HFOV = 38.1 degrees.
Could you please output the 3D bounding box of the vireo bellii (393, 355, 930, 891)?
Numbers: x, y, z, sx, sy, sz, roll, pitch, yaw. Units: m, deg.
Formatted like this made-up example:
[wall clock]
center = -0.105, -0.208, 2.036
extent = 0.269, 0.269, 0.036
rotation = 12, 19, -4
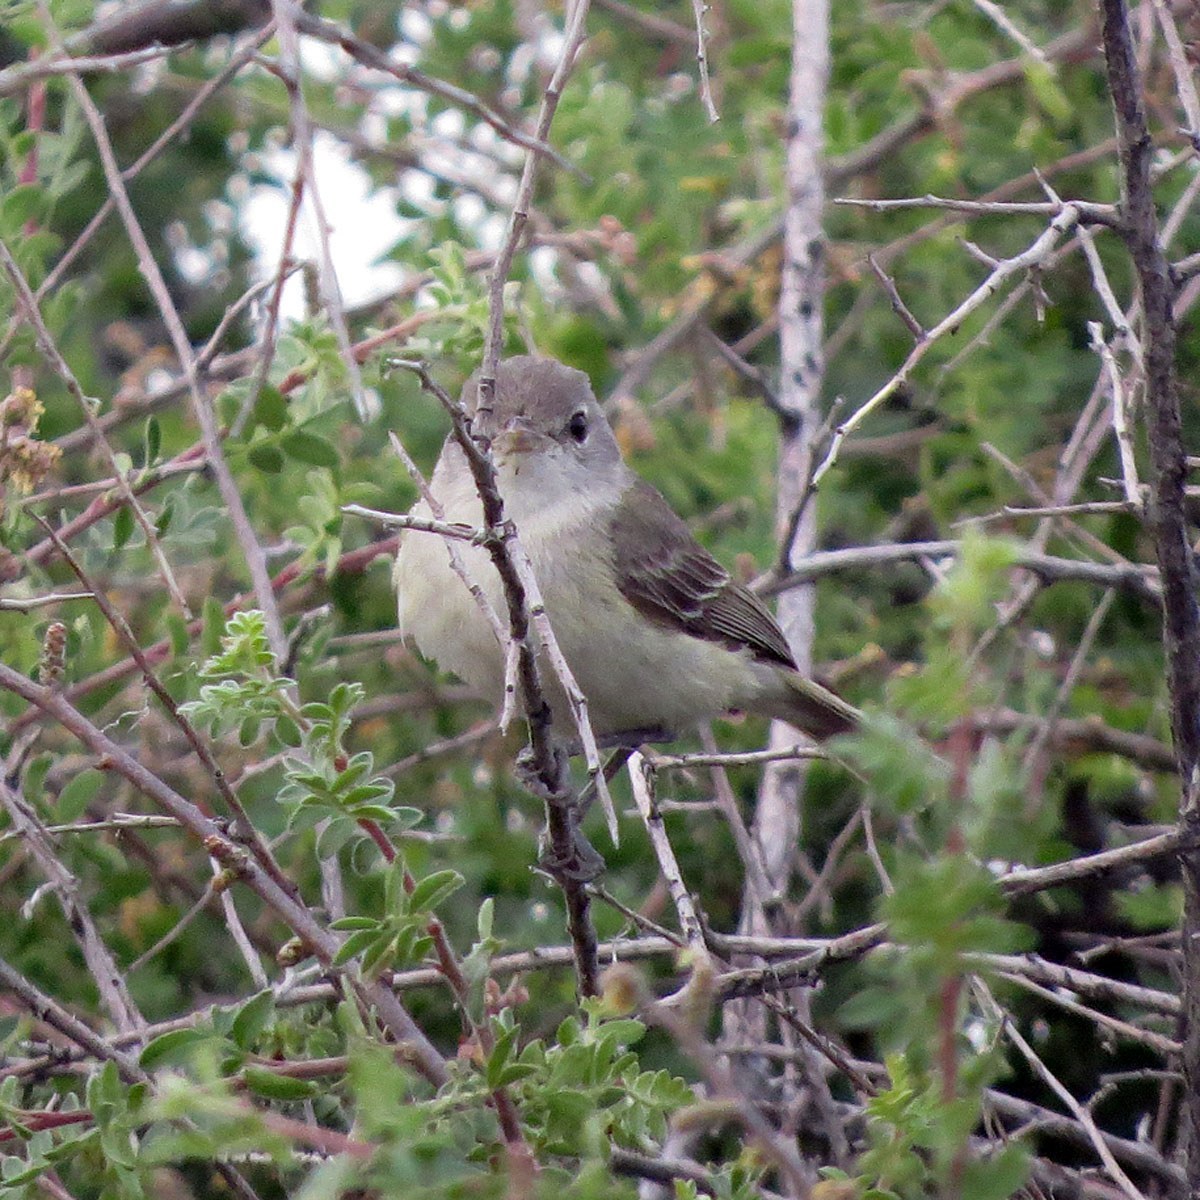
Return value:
[vireo bellii]
center = 0.006, -0.037, 4.610
extent = 1.064, 1.176, 0.800
rotation = -19, 19, -27
